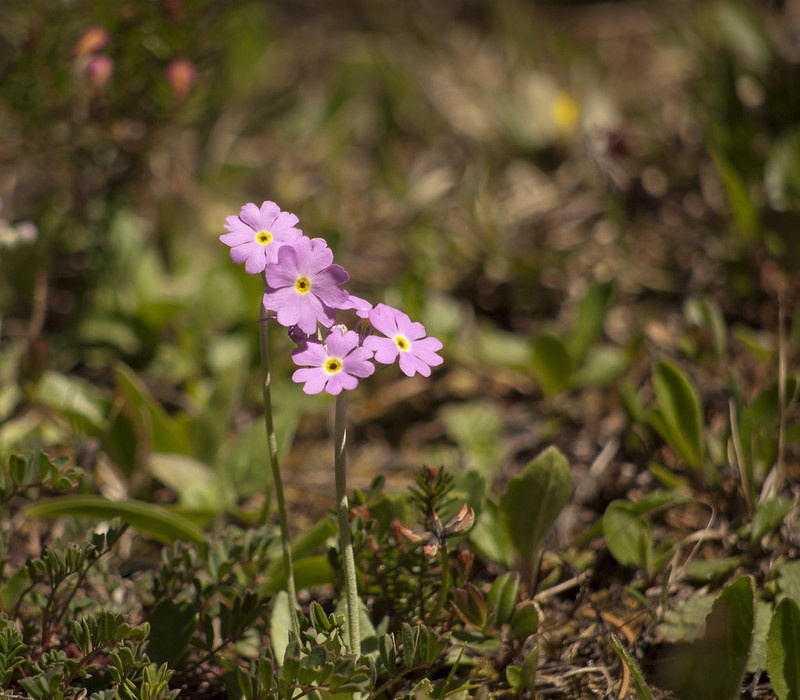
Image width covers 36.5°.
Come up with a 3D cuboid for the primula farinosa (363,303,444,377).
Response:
[{"bbox_3d":[0.014,-0.020,2.433,0.123,0.141,0.194,3,11,31],"label":"primula farinosa"}]

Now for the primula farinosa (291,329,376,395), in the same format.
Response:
[{"bbox_3d":[-0.128,0.030,2.366,0.158,0.137,0.119,-5,9,-10],"label":"primula farinosa"}]
